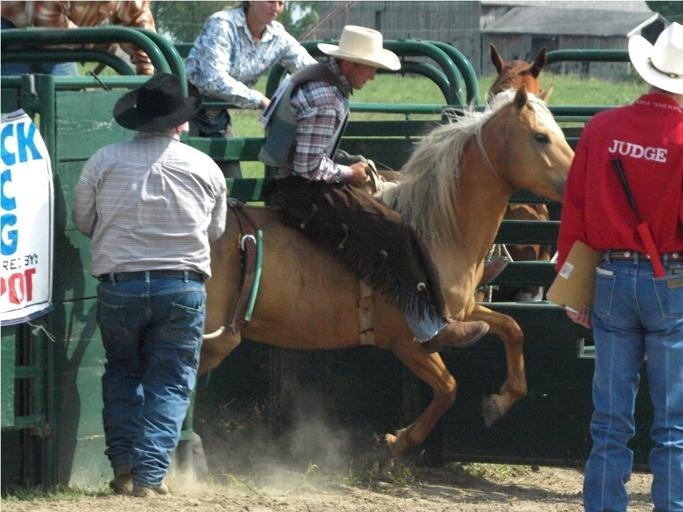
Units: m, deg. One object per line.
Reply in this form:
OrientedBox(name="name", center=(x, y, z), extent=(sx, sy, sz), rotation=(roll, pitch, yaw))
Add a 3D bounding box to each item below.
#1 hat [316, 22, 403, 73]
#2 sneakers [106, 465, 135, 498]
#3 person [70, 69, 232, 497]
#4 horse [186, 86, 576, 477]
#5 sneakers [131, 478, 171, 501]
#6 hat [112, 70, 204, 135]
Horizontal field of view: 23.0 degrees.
OrientedBox(name="hat", center=(0.166, -1.419, 11.473), extent=(0.422, 0.142, 0.340), rotation=(15, 21, -2))
OrientedBox(name="sneakers", center=(-1.442, 1.491, 11.072), extent=(0.166, 0.185, 0.069), rotation=(-7, -23, 5))
OrientedBox(name="person", center=(-1.302, 0.188, 11.047), extent=(0.900, 2.750, 0.669), rotation=(7, 10, 3))
OrientedBox(name="horse", center=(0.192, 0.359, 12.386), extent=(4.267, 2.663, 0.979), rotation=(-7, -5, 41))
OrientedBox(name="sneakers", center=(-1.236, 1.533, 10.990), extent=(0.250, 0.106, 0.169), rotation=(4, 10, -8))
OrientedBox(name="hat", center=(-1.179, -0.988, 11.011), extent=(0.418, 0.172, 0.473), rotation=(32, 48, 29))
